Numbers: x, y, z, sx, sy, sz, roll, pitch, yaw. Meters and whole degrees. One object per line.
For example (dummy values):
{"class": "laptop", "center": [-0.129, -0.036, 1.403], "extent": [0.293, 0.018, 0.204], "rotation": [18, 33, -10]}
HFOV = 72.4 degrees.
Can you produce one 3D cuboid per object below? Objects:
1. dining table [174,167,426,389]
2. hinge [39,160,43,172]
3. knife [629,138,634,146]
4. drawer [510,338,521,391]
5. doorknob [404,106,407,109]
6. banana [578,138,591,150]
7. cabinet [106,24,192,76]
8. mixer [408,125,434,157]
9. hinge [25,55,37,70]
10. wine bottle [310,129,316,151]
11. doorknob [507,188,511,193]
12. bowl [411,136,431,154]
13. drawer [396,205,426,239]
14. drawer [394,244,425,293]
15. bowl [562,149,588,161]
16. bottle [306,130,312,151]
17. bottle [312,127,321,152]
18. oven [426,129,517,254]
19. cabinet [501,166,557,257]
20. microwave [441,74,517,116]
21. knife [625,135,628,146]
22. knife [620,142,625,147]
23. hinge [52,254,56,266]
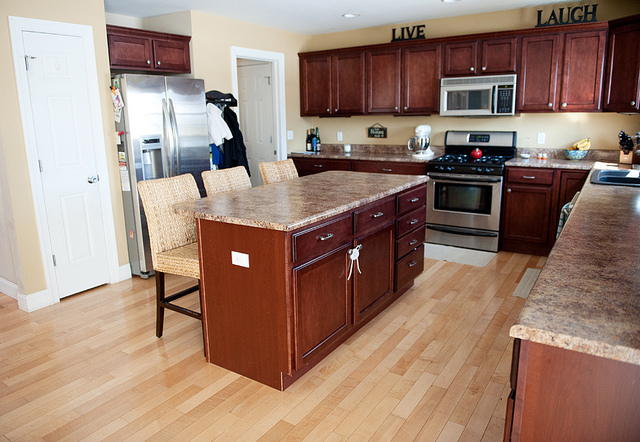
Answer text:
{"class": "dining table", "center": [0.006, 0.306, 3.864], "extent": [1.137, 1.172, 2.241], "rotation": [9, 16, 32]}
{"class": "hinge", "center": [-2.501, -0.490, 3.916], "extent": [0.008, 0.100, 0.034], "rotation": [5, 19, 26]}
{"class": "knife", "center": [3.276, -0.833, 4.594], "extent": [0.054, 0.047, 0.013], "rotation": [13, -28, -21]}
{"class": "drawer", "center": [0.847, 0.601, 1.887], "extent": [0.032, 0.056, 0.231], "rotation": [0, 38, 30]}
{"class": "doorknob", "center": [1.123, -1.476, 5.701], "extent": [0.034, 0.017, 0.023], "rotation": [7, -7, -2]}
{"class": "banana", "center": [3.015, -0.852, 4.974], "extent": [0.131, 0.046, 0.130], "rotation": [-36, -15, 9]}
{"class": "cabinet", "center": [-1.909, -1.850, 4.854], "extent": [0.885, 0.396, 0.316], "rotation": [-7, 13, -36]}
{"class": "mixer", "center": [1.360, -1.018, 5.830], "extent": [0.242, 0.368, 0.364], "rotation": [-4, -9, 38]}
{"class": "hinge", "center": [-2.505, -1.367, 3.772], "extent": [0.012, 0.118, 0.080], "rotation": [5, 18, 26]}
{"class": "wine bottle", "center": [-0.096, -1.194, 6.653], "extent": [0.091, 0.235, 0.113], "rotation": [-7, 17, -12]}
{"class": "doorknob", "center": [2.167, -0.352, 4.997], "extent": [0.038, 0.037, 0.023], "rotation": [-16, -6, 5]}
{"class": "bowl", "center": [1.319, -0.990, 5.716], "extent": [0.217, 0.195, 0.249], "rotation": [7, 18, 22]}
{"class": "drawer", "center": [0.814, 0.006, 3.957], "extent": [0.265, 0.120, 0.377], "rotation": [8, 23, 39]}
{"class": "drawer", "center": [0.818, 0.431, 4.049], "extent": [0.251, 0.245, 0.413], "rotation": [7, 20, 34]}
{"class": "bowl", "center": [2.929, -0.763, 5.018], "extent": [0.242, 0.118, 0.244], "rotation": [-3, 16, 1]}
{"class": "bottle", "center": [-0.168, -1.196, 6.672], "extent": [0.111, 0.222, 0.068], "rotation": [3, 18, 19]}
{"class": "bottle", "center": [-0.054, -1.241, 6.698], "extent": [0.132, 0.311, 0.230], "rotation": [-3, 16, 1]}
{"class": "oven", "center": [1.838, -0.419, 5.460], "extent": [0.889, 1.367, 0.903], "rotation": [4, 18, 23]}
{"class": "cabinet", "center": [2.426, -0.063, 5.180], "extent": [0.532, 1.051, 0.599], "rotation": [5, -14, 21]}
{"class": "microwave", "center": [1.982, -1.530, 5.349], "extent": [0.907, 0.463, 0.441], "rotation": [12, 22, 40]}
{"class": "knife", "center": [3.233, -0.849, 4.598], "extent": [0.020, 0.085, 0.057], "rotation": [10, 21, 38]}
{"class": "knife", "center": [3.203, -0.812, 4.623], "extent": [0.009, 0.028, 0.031], "rotation": [-31, 35, 5]}
{"class": "hinge", "center": [-2.468, 0.360, 4.060], "extent": [0.008, 0.098, 0.029], "rotation": [7, 20, 30]}
